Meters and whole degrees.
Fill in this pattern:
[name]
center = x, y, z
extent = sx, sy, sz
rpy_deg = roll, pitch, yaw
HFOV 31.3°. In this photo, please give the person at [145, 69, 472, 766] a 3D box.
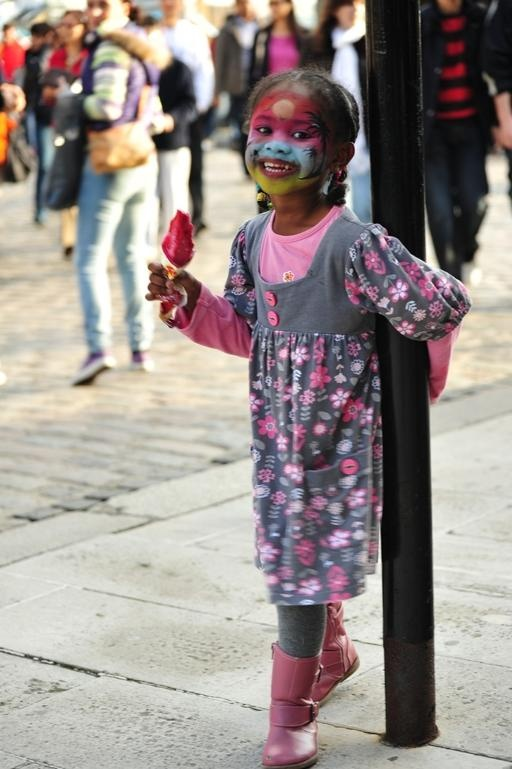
[person]
center = 0.102, 0.058, 1.880
extent = 0.558, 1.394, 0.518
rpy_deg = -8, 15, -14
